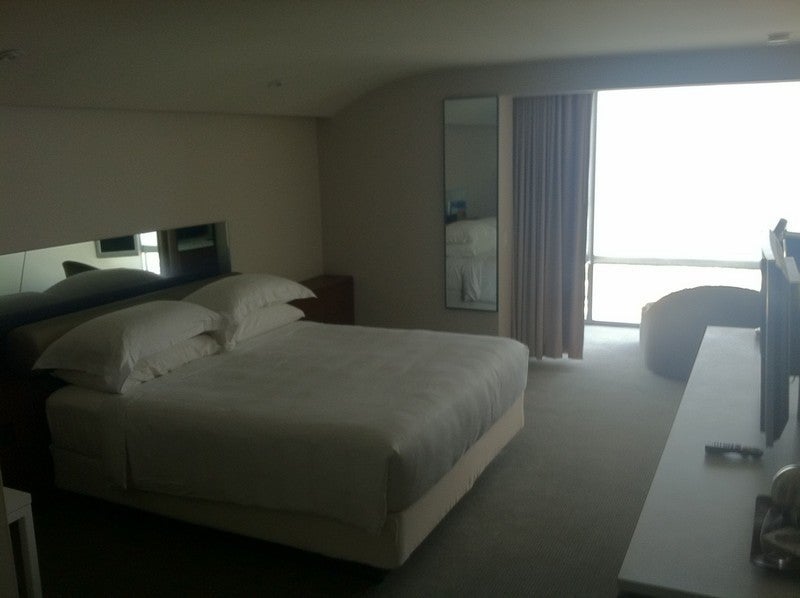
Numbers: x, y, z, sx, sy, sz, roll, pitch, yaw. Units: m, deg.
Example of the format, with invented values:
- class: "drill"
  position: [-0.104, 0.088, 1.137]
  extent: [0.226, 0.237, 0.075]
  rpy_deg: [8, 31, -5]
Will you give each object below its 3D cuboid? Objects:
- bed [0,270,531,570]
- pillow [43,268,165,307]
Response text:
- class: "bed"
  position: [-0.610, 0.538, 2.939]
  extent: [1.484, 0.648, 1.688]
  rpy_deg: [3, 11, 21]
- class: "pillow"
  position: [-1.681, -0.078, 3.454]
  extent: [0.084, 0.172, 0.483]
  rpy_deg: [-10, 7, 30]
